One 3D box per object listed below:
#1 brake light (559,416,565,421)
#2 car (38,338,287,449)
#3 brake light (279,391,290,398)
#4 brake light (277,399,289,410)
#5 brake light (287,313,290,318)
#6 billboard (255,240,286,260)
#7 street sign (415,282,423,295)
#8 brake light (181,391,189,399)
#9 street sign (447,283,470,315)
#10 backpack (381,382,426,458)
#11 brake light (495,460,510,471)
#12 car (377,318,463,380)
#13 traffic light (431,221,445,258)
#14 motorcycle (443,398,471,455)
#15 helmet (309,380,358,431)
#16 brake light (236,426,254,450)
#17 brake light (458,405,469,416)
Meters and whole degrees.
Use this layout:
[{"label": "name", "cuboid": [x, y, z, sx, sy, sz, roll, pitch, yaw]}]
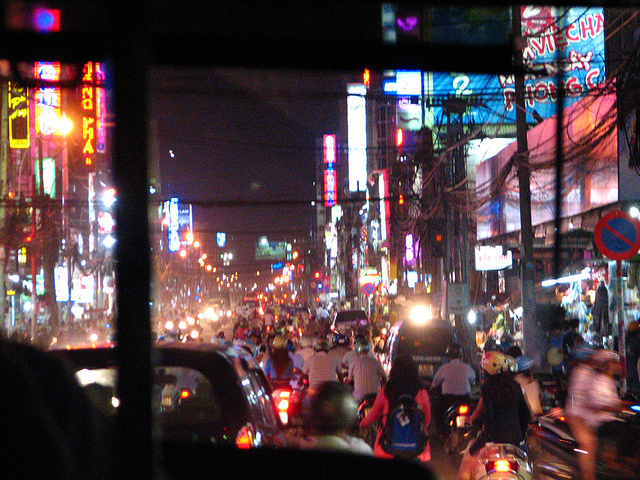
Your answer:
[{"label": "brake light", "cuboid": [3.361, 2.478, 11.135, 0.080, 0.025, 0.091, 1, 4, 18]}, {"label": "car", "cuboid": [-1.488, 1.378, 7.157, 1.966, 1.238, 1.299, 2, -7, 8]}, {"label": "brake light", "cuboid": [-0.628, 2.762, 14.345, 0.170, 0.111, 0.124, -3, -7, -6]}, {"label": "brake light", "cuboid": [-0.644, 2.909, 14.181, 0.098, 0.171, 0.276, -6, -8, 33]}, {"label": "brake light", "cuboid": [-2.224, 5.391, 57.248, 0.136, 0.146, 0.513, -19, 4, 1]}, {"label": "billboard", "cuboid": [-8.966, 2.149, 165.057, 4.740, 3.680, 5.326, -1, 2, -4]}, {"label": "street sign", "cuboid": [5.664, 2.777, 45.879, 0.500, 1.189, 0.573, 0, 0, 6]}, {"label": "brake light", "cuboid": [-1.271, 1.467, 7.600, 0.066, 0.071, 0.030, -2, -5, -9]}, {"label": "street sign", "cuboid": [4.422, 1.867, 25.592, 0.679, 1.063, 0.676, -3, -6, 8]}, {"label": "backpack", "cuboid": [1.046, 2.335, 10.026, 0.430, 0.772, 0.743, 1, -19, 2]}, {"label": "brake light", "cuboid": [1.967, 2.438, 8.671, 0.097, 0.113, 0.073, -1, -6, 7]}, {"label": "car", "cuboid": [2.453, 2.731, 19.428, 1.177, 1.378, 2.302, -2, 0, 1]}, {"label": "traffic light", "cuboid": [4.140, -0.065, 28.025, 0.506, 1.481, 0.401, -4, 35, 3]}, {"label": "motorcycle", "cuboid": [2.231, 3.072, 13.397, 0.380, 0.588, 0.842, 2, -5, 2]}, {"label": "helmet", "cuboid": [0.112, 1.366, 6.588, 0.379, 0.383, 0.291, -3, -6, -3]}, {"label": "brake light", "cuboid": [-0.657, 1.745, 7.139, 0.136, 0.163, 0.166, -7, -8, 37]}, {"label": "brake light", "cuboid": [2.351, 2.783, 13.114, 0.207, 0.166, 0.175, -3, -7, -3]}]
